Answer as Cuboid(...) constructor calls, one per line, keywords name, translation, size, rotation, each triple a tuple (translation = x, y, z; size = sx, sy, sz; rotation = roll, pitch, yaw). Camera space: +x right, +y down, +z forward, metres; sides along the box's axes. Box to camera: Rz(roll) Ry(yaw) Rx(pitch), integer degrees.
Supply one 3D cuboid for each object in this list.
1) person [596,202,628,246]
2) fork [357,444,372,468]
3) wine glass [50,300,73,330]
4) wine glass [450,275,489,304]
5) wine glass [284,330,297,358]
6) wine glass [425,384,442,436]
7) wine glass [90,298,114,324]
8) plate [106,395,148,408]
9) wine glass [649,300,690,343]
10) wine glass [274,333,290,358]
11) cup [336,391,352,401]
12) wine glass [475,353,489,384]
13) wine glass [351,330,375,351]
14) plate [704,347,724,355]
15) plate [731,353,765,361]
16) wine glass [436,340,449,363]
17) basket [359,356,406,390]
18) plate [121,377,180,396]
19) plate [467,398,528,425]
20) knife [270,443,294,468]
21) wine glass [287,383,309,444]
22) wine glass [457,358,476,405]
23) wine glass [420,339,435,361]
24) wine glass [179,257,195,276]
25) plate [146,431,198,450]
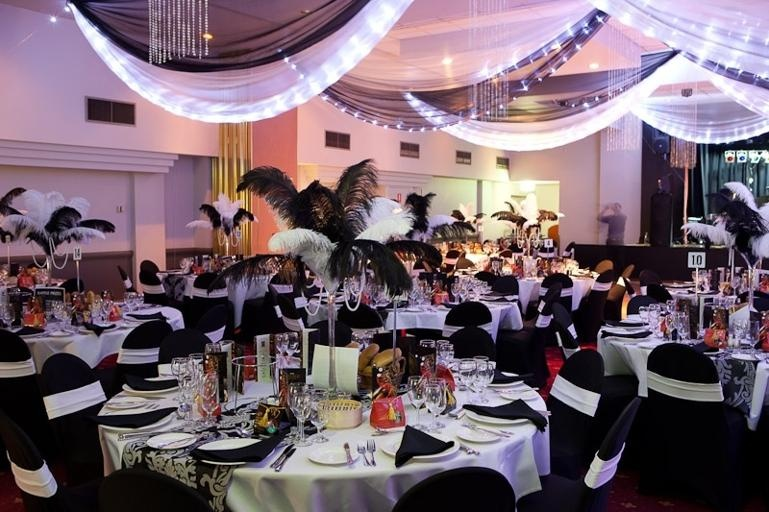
Cuboid(name="person", translation=(6.455, -0.925, 16.780), size=(0.727, 1.150, 0.202), rotation=(-1, 3, 32))
Cuboid(name="fork", translation=(-0.122, 1.200, 3.551), size=(0.041, 0.027, 0.181), rotation=(-4, 24, -6))
Cuboid(name="wine glass", translation=(-3.163, 0.581, 5.801), size=(0.196, 0.355, 0.219), rotation=(2, 11, -17))
Cuboid(name="wine glass", translation=(1.019, 0.423, 7.346), size=(0.316, 0.293, 0.368), rotation=(0, -2, 0))
Cuboid(name="wine glass", translation=(-0.634, 0.615, 4.121), size=(0.113, 0.201, 0.125), rotation=(-1, 5, -36))
Cuboid(name="wine glass", translation=(0.326, 0.950, 3.855), size=(0.122, 0.331, 0.235), rotation=(-2, 2, 5))
Cuboid(name="wine glass", translation=(-2.858, 0.569, 5.978), size=(0.199, 0.260, 0.215), rotation=(1, -2, 6))
Cuboid(name="plate", translation=(-1.780, 1.011, 4.097), size=(0.255, 0.040, 0.164), rotation=(-2, 2, 19))
Cuboid(name="wine glass", translation=(2.690, 0.613, 5.498), size=(0.363, 0.283, 0.277), rotation=(0, -1, -24))
Cuboid(name="wine glass", translation=(-0.711, 0.622, 4.112), size=(0.121, 0.228, 0.132), rotation=(3, -2, -16))
Cuboid(name="cup", translation=(-0.282, 0.967, 4.091), size=(0.058, 0.052, 0.068), rotation=(0, -6, 3))
Cuboid(name="wine glass", translation=(0.674, 0.787, 4.095), size=(0.091, 0.165, 0.181), rotation=(-2, 2, 7))
Cuboid(name="wine glass", translation=(-0.164, 0.632, 4.453), size=(0.118, 0.147, 0.157), rotation=(-1, -9, 25))
Cuboid(name="plate", translation=(2.768, 0.806, 4.978), size=(0.157, 0.066, 0.049), rotation=(1, -12, 3))
Cuboid(name="plate", translation=(2.973, 0.829, 4.842), size=(0.252, 0.035, 0.179), rotation=(-2, 2, 20))
Cuboid(name="wine glass", translation=(0.420, 0.715, 4.373), size=(0.125, 0.154, 0.117), rotation=(-3, 2, -17))
Cuboid(name="basket", translation=(-0.037, 0.789, 4.102), size=(0.270, 0.218, 0.225), rotation=(-1, -2, 22))
Cuboid(name="plate", translation=(-1.661, 0.941, 4.267), size=(0.204, 0.068, 0.201), rotation=(6, -5, -43))
Cuboid(name="plate", translation=(0.754, 1.033, 3.964), size=(0.442, 0.108, 0.244), rotation=(-3, 2, -4))
Cuboid(name="knife", translation=(-0.601, 1.201, 3.550), size=(0.044, 0.017, 0.204), rotation=(12, 18, 7))
Cuboid(name="wine glass", translation=(-0.537, 0.973, 3.740), size=(0.130, 0.368, 0.233), rotation=(-3, 2, -9))
Cuboid(name="wine glass", translation=(0.589, 0.853, 4.176), size=(0.120, 0.291, 0.314), rotation=(-2, 2, 7))
Cuboid(name="wine glass", translation=(0.298, 0.688, 4.253), size=(0.109, 0.137, 0.109), rotation=(4, -4, -38))
Cuboid(name="wine glass", translation=(-3.247, 0.181, 9.761), size=(0.261, 0.339, 0.280), rotation=(2, 4, 22))
Cuboid(name="plate", translation=(-1.321, 1.149, 3.684), size=(0.305, 0.049, 0.155), rotation=(-3, 2, 5))
